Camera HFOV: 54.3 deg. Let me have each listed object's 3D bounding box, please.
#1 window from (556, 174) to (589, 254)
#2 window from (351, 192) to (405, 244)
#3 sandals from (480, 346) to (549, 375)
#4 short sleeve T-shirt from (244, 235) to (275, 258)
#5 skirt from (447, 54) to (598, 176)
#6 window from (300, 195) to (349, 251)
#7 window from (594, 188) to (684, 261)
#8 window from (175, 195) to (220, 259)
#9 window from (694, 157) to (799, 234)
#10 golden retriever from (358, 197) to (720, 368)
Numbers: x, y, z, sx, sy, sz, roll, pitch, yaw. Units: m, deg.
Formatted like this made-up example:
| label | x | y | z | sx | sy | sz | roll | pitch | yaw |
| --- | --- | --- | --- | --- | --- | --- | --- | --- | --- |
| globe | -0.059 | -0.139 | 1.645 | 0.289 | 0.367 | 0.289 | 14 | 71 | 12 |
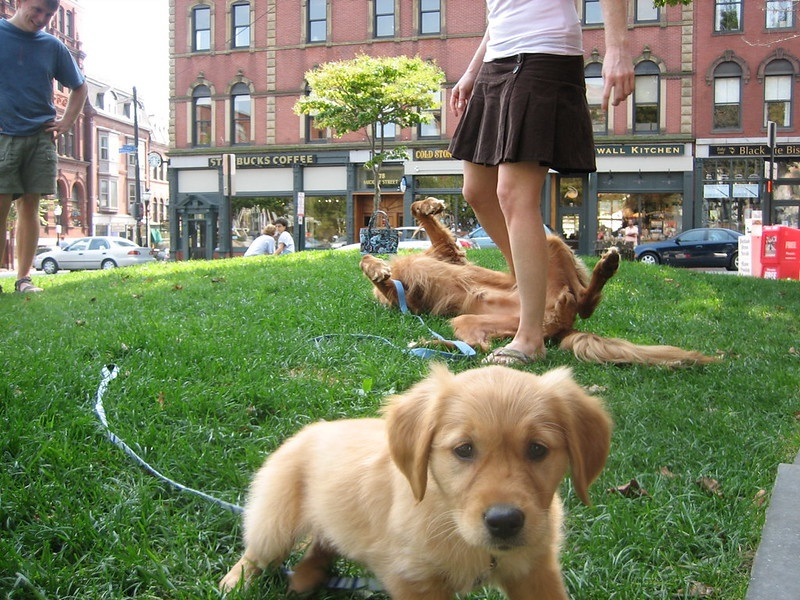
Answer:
| label | x | y | z | sx | sy | sz | roll | pitch | yaw |
| --- | --- | --- | --- | --- | --- | --- | --- | --- | --- |
| window | 6.019 | -3.036 | 27.397 | 1.047 | 3.209 | 0.223 | 1 | -22 | 10 |
| window | -0.642 | -3.092 | 29.551 | 2.044 | 2.225 | 0.701 | 4 | 17 | 17 |
| sandals | 0.633 | 0.324 | 4.373 | 0.358 | 0.093 | 0.188 | 9 | -13 | -37 |
| short sleeve T-shirt | -2.597 | -1.057 | 14.488 | 0.464 | 0.350 | 0.584 | -1 | 4 | -13 |
| skirt | 0.735 | -1.074 | 4.577 | 0.954 | 0.733 | 0.621 | 3 | -2 | 39 |
| window | -2.743 | -2.844 | 30.245 | 2.200 | 2.920 | 0.110 | -16 | 40 | -15 |
| window | 7.799 | -2.540 | 24.955 | 3.565 | 2.939 | 0.198 | 0 | -2 | 7 |
| window | -8.325 | -2.864 | 31.521 | 1.801 | 3.548 | 0.578 | 1 | 44 | -14 |
| window | 11.785 | -3.603 | 26.188 | 3.215 | 2.438 | 0.722 | -1 | 4 | -6 |
| golden retriever | 0.751 | -0.101 | 5.302 | 2.015 | 1.039 | 0.701 | 4 | 5 | 23 |
